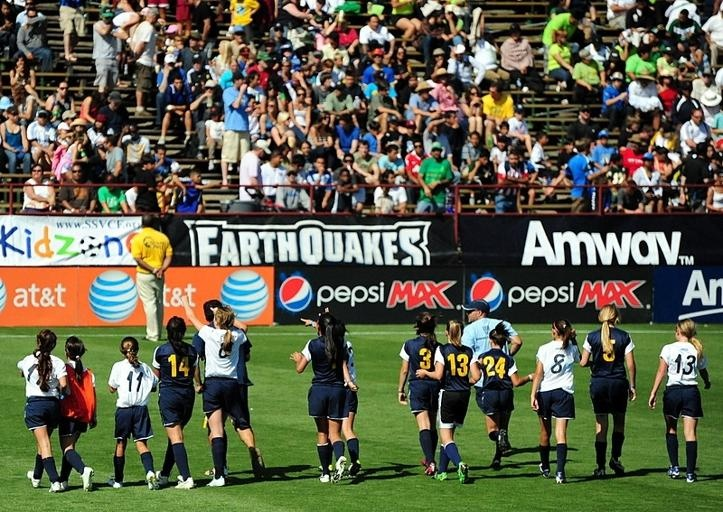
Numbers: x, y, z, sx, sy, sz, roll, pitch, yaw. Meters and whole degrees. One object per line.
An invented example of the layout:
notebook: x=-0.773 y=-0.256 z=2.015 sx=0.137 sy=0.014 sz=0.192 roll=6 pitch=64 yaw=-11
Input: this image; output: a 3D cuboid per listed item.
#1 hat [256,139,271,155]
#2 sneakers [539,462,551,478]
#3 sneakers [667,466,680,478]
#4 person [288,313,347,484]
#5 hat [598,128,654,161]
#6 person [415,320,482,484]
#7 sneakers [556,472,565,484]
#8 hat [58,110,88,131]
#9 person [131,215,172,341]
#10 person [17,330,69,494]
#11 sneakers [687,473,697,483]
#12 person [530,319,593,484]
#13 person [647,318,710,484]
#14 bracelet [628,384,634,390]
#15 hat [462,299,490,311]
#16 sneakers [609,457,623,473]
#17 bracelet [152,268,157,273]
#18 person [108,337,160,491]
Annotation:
hat: x=-2.761 y=-3.020 z=43.959 sx=0.404 sy=0.434 sz=1.102 roll=-3 pitch=14 yaw=-4
sneakers: x=3.746 y=4.338 z=32.752 sx=0.113 sy=0.162 sz=0.361 roll=3 pitch=11 yaw=-6
sneakers: x=6.408 y=4.382 z=32.793 sx=0.118 sy=0.170 sz=0.343 roll=1 pitch=3 yaw=-5
person: x=-0.708 y=2.869 z=32.154 sx=1.125 sy=3.358 sz=0.746 roll=9 pitch=17 yaw=38
hat: x=7.551 y=-3.164 z=45.428 sx=1.250 sy=0.441 sz=0.574 roll=-3 pitch=-35 yaw=19
person: x=1.848 y=2.936 z=32.217 sx=0.848 sy=3.210 sz=0.978 roll=-12 pitch=17 yaw=-37
sneakers: x=4.048 y=4.422 z=32.457 sx=0.214 sy=0.258 sz=0.224 roll=-3 pitch=14 yaw=-4
hat: x=-8.001 y=-3.720 z=44.008 sx=0.789 sy=0.426 sz=0.511 roll=-18 pitch=-8 yaw=19
person: x=-5.317 y=0.525 z=40.229 sx=0.947 sy=3.285 sz=0.455 roll=-4 pitch=13 yaw=-9
person: x=-6.294 y=3.027 z=31.571 sx=0.876 sy=3.154 sz=0.771 roll=-5 pitch=14 yaw=-15
sneakers: x=6.740 y=4.466 z=32.654 sx=0.142 sy=0.168 sz=0.198 roll=2 pitch=9 yaw=10
person: x=3.968 y=2.945 z=32.485 sx=0.923 sy=3.203 sz=0.948 roll=-8 pitch=15 yaw=-24
person: x=6.498 y=2.941 z=32.636 sx=0.915 sy=3.199 sz=1.126 roll=5 pitch=15 yaw=28
bracelet: x=5.516 y=2.643 z=32.786 sx=0.072 sy=0.112 sz=0.028 roll=9 pitch=1 yaw=7
hat: x=2.416 y=1.030 z=33.702 sx=0.388 sy=0.252 sz=0.294 roll=2 pitch=-2 yaw=5
sneakers: x=5.267 y=4.279 z=33.032 sx=0.142 sy=0.204 sz=0.454 roll=4 pitch=10 yaw=0
bracelet: x=-5.226 y=0.349 z=40.019 sx=0.091 sy=0.102 sz=0.068 roll=16 pitch=2 yaw=-19
person: x=-4.587 y=3.128 z=31.637 sx=0.999 sy=2.972 sz=0.895 roll=-1 pitch=13 yaw=4
